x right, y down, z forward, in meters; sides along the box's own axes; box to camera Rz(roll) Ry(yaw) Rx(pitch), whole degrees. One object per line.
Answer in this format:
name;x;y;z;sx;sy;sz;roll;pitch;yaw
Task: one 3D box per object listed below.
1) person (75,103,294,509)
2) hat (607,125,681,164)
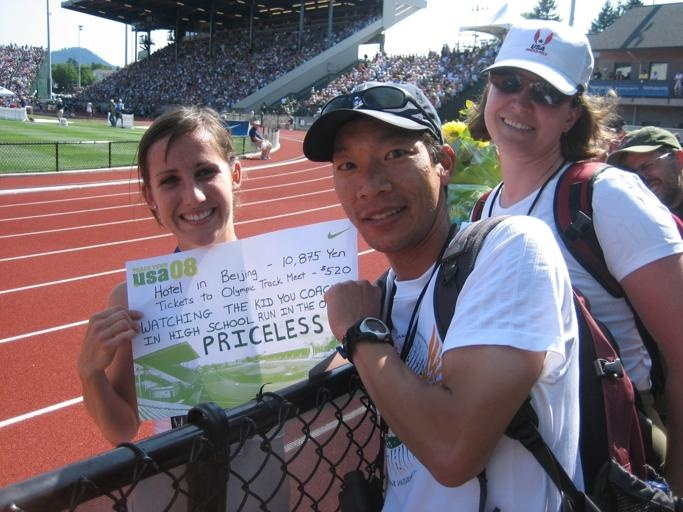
person;-0.731;0.158;2.633;0.801;1.513;1.413;-5;14;-17
hat;1.955;-0.758;3.900;0.353;0.212;0.272;7;-12;-13
